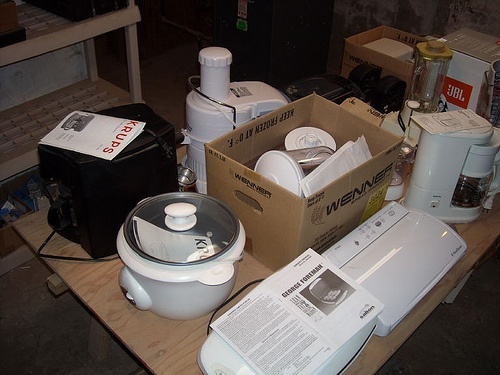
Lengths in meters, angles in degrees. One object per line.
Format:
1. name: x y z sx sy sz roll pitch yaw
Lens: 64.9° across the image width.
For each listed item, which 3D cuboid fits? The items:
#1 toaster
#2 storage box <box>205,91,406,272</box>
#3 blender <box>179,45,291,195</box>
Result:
1. toaster: -0.469 -0.030 1.353 0.385 0.359 0.283 -22 43 -37
2. storage box: 0.190 -0.042 1.413 0.443 0.337 0.583 28 42 33
3. blender: -0.157 -0.313 1.703 0.406 0.577 0.509 31 48 29
